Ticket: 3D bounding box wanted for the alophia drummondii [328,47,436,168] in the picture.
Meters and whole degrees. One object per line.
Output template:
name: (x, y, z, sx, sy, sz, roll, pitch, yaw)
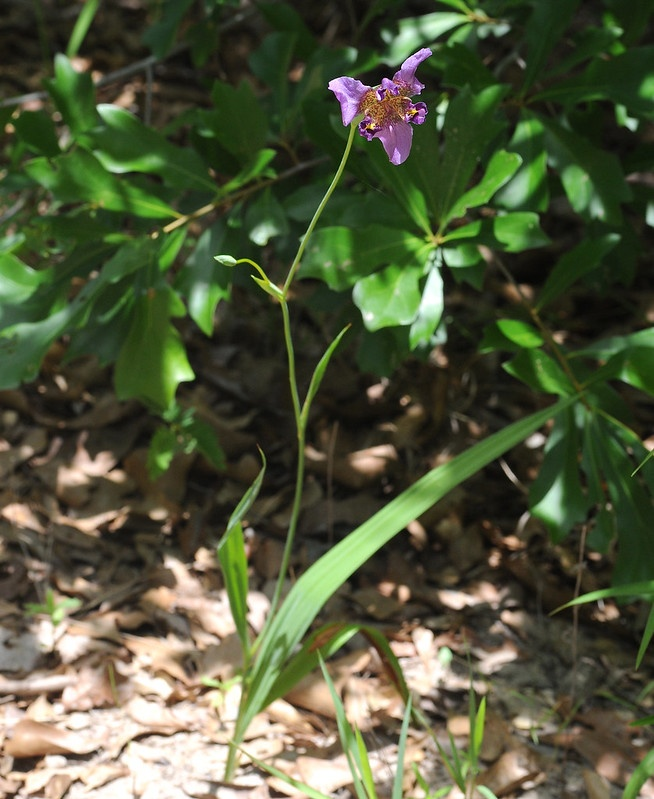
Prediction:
alophia drummondii: (0.076, -0.393, 1.036, 0.169, 0.147, 0.064, -18, 34, -16)
